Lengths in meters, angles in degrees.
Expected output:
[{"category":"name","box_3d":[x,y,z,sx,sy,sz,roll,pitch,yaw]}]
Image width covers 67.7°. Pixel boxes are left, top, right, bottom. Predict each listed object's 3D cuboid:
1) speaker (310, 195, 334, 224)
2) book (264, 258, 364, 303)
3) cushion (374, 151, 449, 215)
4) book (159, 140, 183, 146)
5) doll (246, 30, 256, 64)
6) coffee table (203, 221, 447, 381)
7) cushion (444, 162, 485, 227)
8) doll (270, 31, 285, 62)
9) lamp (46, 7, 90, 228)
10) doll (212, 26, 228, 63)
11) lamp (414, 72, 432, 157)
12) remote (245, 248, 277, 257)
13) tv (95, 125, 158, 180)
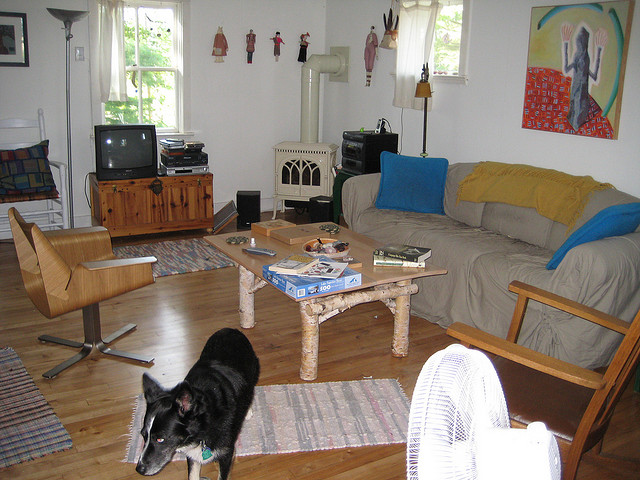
[{"category":"speaker","box_3d":[0.023,-0.345,5.524,0.263,0.285,0.200,-2,15,-6]},{"category":"book","box_3d":[0.005,0.247,2.807,0.321,0.068,0.342,-9,18,-28]},{"category":"cushion","box_3d":[0.850,-0.496,4.419,0.653,0.604,0.178,2,-6,14]},{"category":"book","box_3d":[-1.700,-1.091,5.395,0.294,0.057,0.151,7,17,25]},{"category":"doll","box_3d":[-0.876,-2.439,6.041,0.102,0.403,0.083,-8,17,-26]},{"category":"coffee table","box_3d":[0.101,0.253,3.192,1.022,0.550,1.322,-9,21,-27]},{"category":"cushion","box_3d":[1.433,-0.402,4.372,0.156,0.499,0.503,9,1,-25]},{"category":"doll","box_3d":[-0.549,-2.500,6.208,0.186,0.360,0.092,-4,16,-15]},{"category":"lamp","box_3d":[-2.610,-1.237,5.132,0.426,2.274,0.557,-10,18,-31]},{"category":"doll","box_3d":[-1.224,-2.384,5.855,0.209,0.404,0.103,-8,17,-26]},{"category":"lamp","box_3d":[1.061,-1.286,4.927,0.144,0.820,0.406,4,16,13]},{"category":"remote","box_3d":[-0.388,0.085,3.232,0.239,0.061,0.069,6,16,26]},{"category":"tv","box_3d":[-2.160,-0.997,5.196,0.669,0.600,0.386,-11,33,-37]}]
